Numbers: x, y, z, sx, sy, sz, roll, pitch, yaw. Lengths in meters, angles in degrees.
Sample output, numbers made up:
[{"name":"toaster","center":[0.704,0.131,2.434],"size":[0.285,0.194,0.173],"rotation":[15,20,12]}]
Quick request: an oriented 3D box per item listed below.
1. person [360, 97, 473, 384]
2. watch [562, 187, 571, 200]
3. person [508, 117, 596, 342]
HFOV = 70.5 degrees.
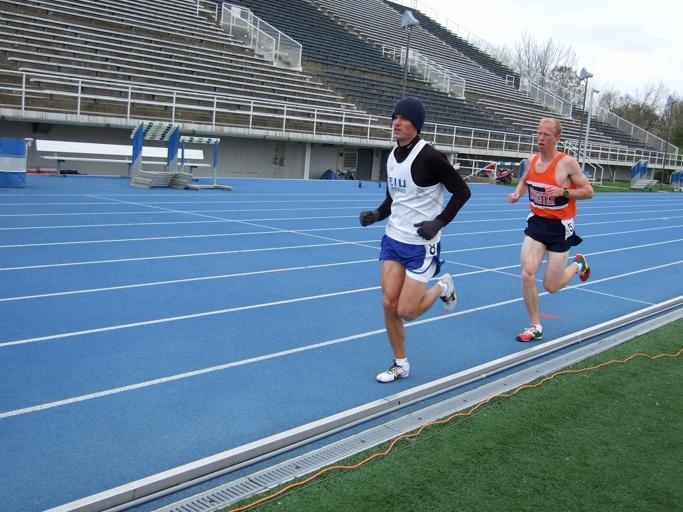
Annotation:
[{"name":"person","center":[0.582,-0.233,3.786],"size":[0.832,2.267,0.875],"rotation":[8,15,16]},{"name":"watch","center":[2.188,-0.603,4.691],"size":[0.069,0.110,0.102],"rotation":[-4,-14,34]},{"name":"person","center":[2.278,-0.264,5.104],"size":[1.263,2.265,0.861],"rotation":[-6,10,-33]}]
